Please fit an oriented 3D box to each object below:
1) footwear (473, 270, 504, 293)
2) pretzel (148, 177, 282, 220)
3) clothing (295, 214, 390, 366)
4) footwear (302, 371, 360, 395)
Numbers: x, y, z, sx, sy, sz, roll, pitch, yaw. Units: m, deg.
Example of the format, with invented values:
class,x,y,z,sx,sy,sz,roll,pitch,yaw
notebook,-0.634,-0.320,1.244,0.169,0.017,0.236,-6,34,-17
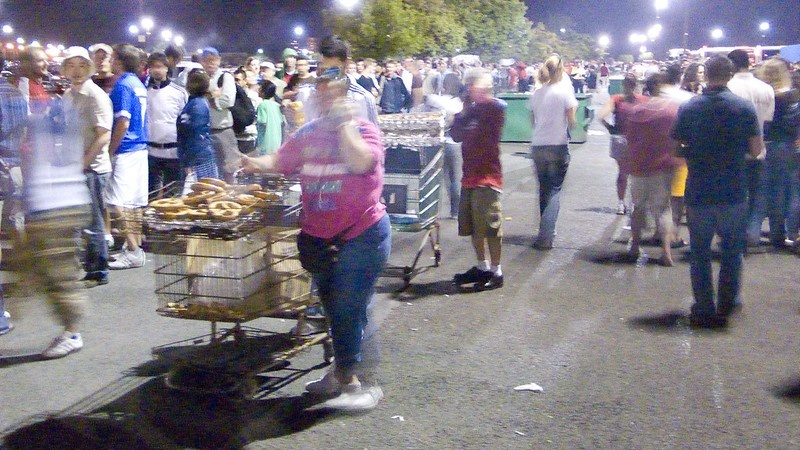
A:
class,x,y,z,sx,sy,sz,roll,pitch,yaw
footwear,1.218,0.769,8.266,0.429,0.147,0.227,0,2,-35
pretzel,-1.774,-0.243,5.830,1.225,0.332,0.602,-2,12,-7
clothing,-0.476,0.629,5.604,0.832,1.396,0.302,-3,14,-8
footwear,-0.660,1.509,5.814,0.600,0.186,0.191,0,-8,11
